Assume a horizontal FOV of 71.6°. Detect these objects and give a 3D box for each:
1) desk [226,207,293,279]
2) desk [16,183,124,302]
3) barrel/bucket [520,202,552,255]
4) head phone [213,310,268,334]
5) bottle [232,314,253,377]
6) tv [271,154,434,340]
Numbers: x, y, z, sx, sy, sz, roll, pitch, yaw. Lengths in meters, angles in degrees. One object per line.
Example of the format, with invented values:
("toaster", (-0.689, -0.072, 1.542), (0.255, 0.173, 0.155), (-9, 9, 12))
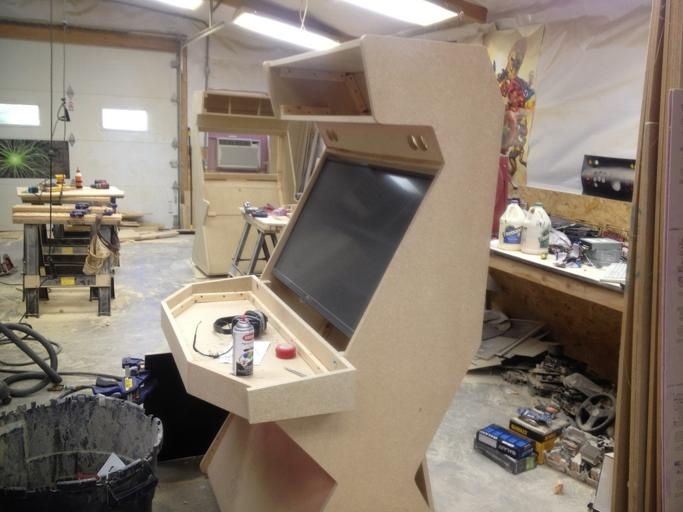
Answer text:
("desk", (-0.893, -0.077, 5.100), (0.431, 0.744, 0.857), (-1, 15, -28))
("desk", (-2.874, -0.184, 5.271), (1.204, 0.986, 1.499), (1, 23, -16))
("barrel/bucket", (1.441, -0.200, 3.500), (0.197, 0.374, 0.284), (7, 10, 23))
("head phone", (-0.436, 0.289, 2.055), (0.156, 0.068, 0.122), (6, 13, 19))
("bottle", (-0.355, 0.321, 1.706), (0.077, 0.190, 0.115), (1, 9, -11))
("tv", (-0.010, -0.107, 2.144), (0.325, 0.709, 0.851), (-2, 10, -29))
